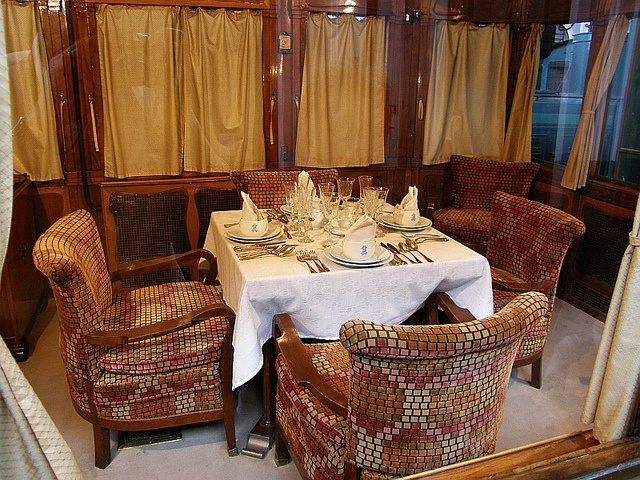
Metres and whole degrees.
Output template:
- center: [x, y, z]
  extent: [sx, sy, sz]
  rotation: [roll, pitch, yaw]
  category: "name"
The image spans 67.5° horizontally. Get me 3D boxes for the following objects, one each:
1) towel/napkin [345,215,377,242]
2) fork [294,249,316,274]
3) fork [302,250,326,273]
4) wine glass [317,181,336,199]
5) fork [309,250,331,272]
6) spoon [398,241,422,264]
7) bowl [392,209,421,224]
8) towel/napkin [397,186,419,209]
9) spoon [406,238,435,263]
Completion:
- center: [0.169, -0.050, 1.925]
  extent: [0.075, 0.066, 0.114]
  rotation: [-5, 16, -18]
  category: "towel/napkin"
- center: [-0.063, 0.083, 1.991]
  extent: [0.037, 0.022, 0.156]
  rotation: [5, 31, -15]
  category: "fork"
- center: [-0.028, 0.088, 1.981]
  extent: [0.037, 0.030, 0.198]
  rotation: [-5, 25, -13]
  category: "fork"
- center: [0.031, -0.221, 2.234]
  extent: [0.077, 0.083, 0.079]
  rotation: [-8, 27, -17]
  category: "wine glass"
- center: [-0.007, 0.095, 1.967]
  extent: [0.029, 0.032, 0.194]
  rotation: [-4, 25, -15]
  category: "fork"
- center: [0.385, 0.044, 2.087]
  extent: [0.032, 0.025, 0.167]
  rotation: [-15, 34, -1]
  category: "spoon"
- center: [0.430, -0.111, 2.353]
  extent: [0.076, 0.062, 0.078]
  rotation: [0, 20, 0]
  category: "bowl"
- center: [0.452, -0.212, 2.419]
  extent: [0.101, 0.116, 0.085]
  rotation: [-12, 18, -28]
  category: "towel/napkin"
- center: [0.429, 0.043, 2.131]
  extent: [0.035, 0.032, 0.215]
  rotation: [-5, 30, -9]
  category: "spoon"
